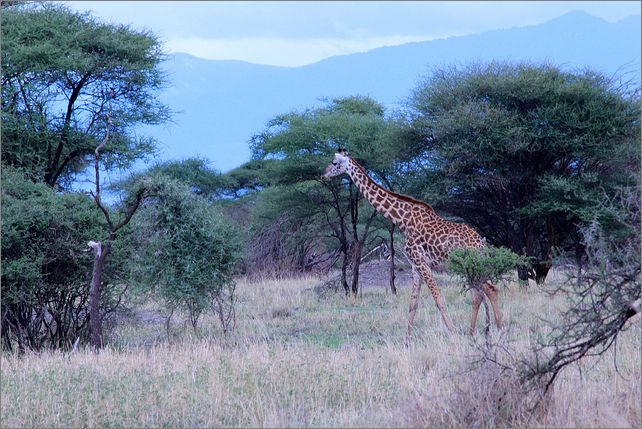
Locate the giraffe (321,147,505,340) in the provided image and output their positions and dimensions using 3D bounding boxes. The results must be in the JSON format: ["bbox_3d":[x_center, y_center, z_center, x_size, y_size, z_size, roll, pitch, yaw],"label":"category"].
[{"bbox_3d":[2.864,0.834,22.921,5.046,4.976,1.699,4,9,37],"label":"giraffe"}]
